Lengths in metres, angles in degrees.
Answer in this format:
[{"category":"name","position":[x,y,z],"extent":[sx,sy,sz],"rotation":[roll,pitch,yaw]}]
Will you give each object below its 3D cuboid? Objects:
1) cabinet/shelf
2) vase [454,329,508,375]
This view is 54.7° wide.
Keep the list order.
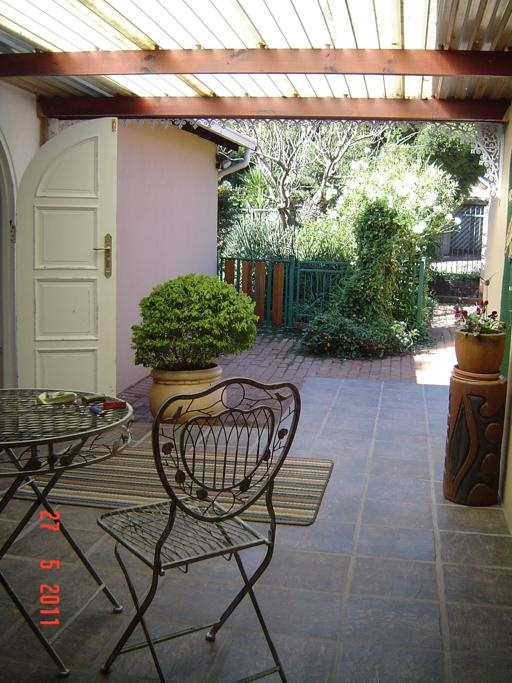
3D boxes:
[{"category":"cabinet/shelf","position":[1.354,0.604,3.055],"extent":[0.345,0.850,0.209],"rotation":[5,10,22]},{"category":"vase","position":[1.339,0.056,3.020],"extent":[0.284,0.251,0.275],"rotation":[1,3,4]}]
